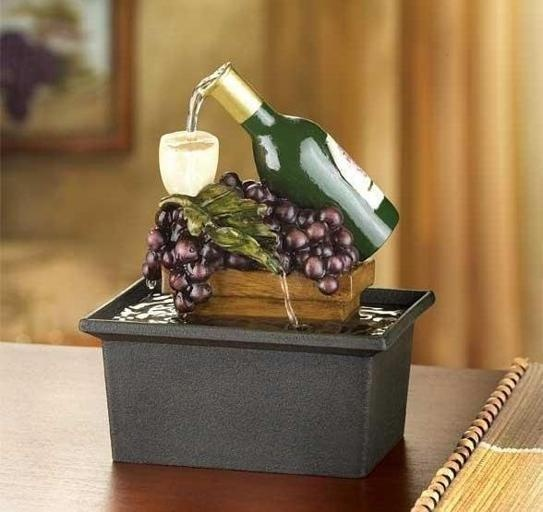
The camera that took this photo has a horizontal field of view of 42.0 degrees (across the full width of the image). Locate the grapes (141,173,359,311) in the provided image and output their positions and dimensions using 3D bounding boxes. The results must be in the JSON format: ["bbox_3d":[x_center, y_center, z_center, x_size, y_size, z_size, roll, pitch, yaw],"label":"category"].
[{"bbox_3d":[-0.038,-0.030,0.597,0.126,0.057,0.107,-10,24,14],"label":"grapes"}]

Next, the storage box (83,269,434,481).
[{"bbox_3d":[-0.002,0.087,0.543,0.241,0.084,0.147,0,6,12],"label":"storage box"}]

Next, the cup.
[{"bbox_3d":[-0.074,-0.075,0.603,0.055,0.045,0.045,4,25,3],"label":"cup"}]
